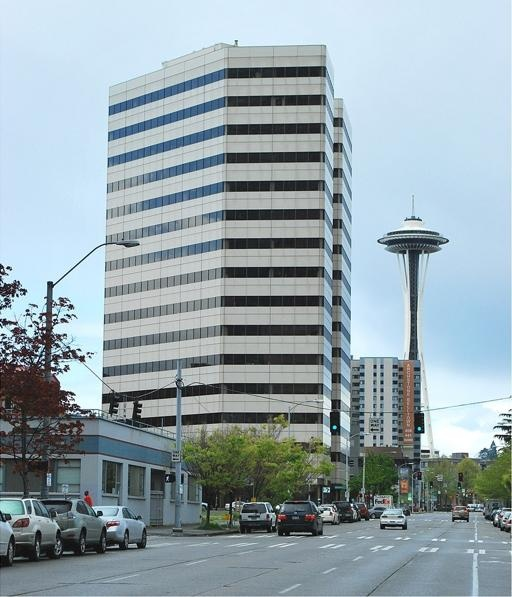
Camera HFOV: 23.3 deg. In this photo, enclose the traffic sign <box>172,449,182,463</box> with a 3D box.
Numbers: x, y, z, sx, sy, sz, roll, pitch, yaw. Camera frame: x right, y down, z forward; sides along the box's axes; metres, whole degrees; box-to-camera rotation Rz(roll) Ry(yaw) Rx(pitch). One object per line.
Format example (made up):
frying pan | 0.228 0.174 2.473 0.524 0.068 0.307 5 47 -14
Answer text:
traffic sign | -3.716 7.306 56.945 0.394 0.608 1.008 0 -14 -6
